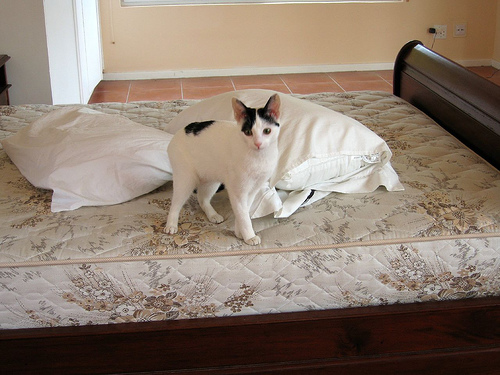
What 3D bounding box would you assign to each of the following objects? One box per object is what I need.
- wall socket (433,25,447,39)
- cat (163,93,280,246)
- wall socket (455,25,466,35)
[{"bbox_3d":[2.456,-2.013,5.406,0.263,0.169,0.016,-2,13,3],"label":"wall socket"},{"bbox_3d":[-0.104,-0.071,1.413,0.394,0.503,0.289,2,32,4],"label":"cat"},{"bbox_3d":[2.724,-2.038,5.415,0.168,0.113,0.069,-2,35,2],"label":"wall socket"}]
